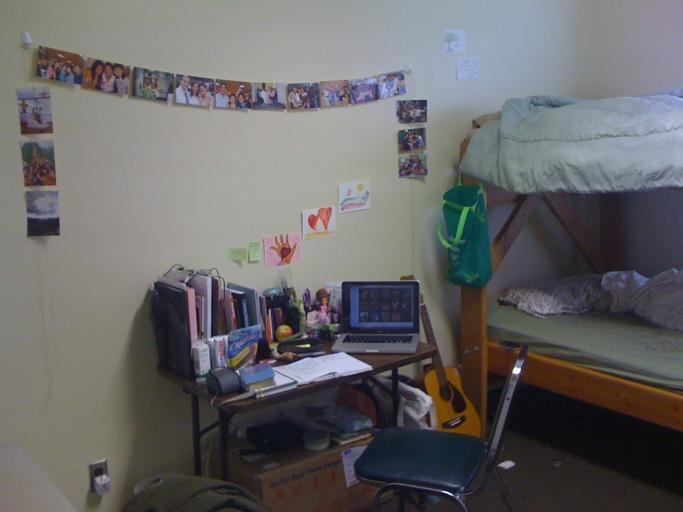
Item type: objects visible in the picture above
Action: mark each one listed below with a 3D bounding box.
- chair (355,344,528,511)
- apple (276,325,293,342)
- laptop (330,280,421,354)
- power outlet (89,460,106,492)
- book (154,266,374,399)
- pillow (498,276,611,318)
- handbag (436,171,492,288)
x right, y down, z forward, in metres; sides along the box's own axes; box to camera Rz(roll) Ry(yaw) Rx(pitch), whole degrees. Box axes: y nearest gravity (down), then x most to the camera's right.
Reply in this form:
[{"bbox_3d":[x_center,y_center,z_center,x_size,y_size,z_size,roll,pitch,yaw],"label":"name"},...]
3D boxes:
[{"bbox_3d":[0.429,0.865,2.518,0.730,1.044,0.599,5,12,15],"label":"chair"},{"bbox_3d":[-0.296,0.397,2.770,0.072,0.078,0.077,3,14,8],"label":"apple"},{"bbox_3d":[0.180,0.293,2.709,0.446,0.320,0.390,-2,3,1],"label":"laptop"},{"bbox_3d":[-1.158,1.045,2.542,0.089,0.137,0.041,-10,14,-27],"label":"power outlet"},{"bbox_3d":[-0.537,0.314,2.616,0.510,0.617,0.470,-6,7,33],"label":"book"},{"bbox_3d":[1.501,0.269,3.674,0.436,0.177,0.351,-4,2,-10],"label":"pillow"},{"bbox_3d":[0.717,-0.114,3.150,0.175,0.615,0.332,-13,16,-37],"label":"handbag"}]
